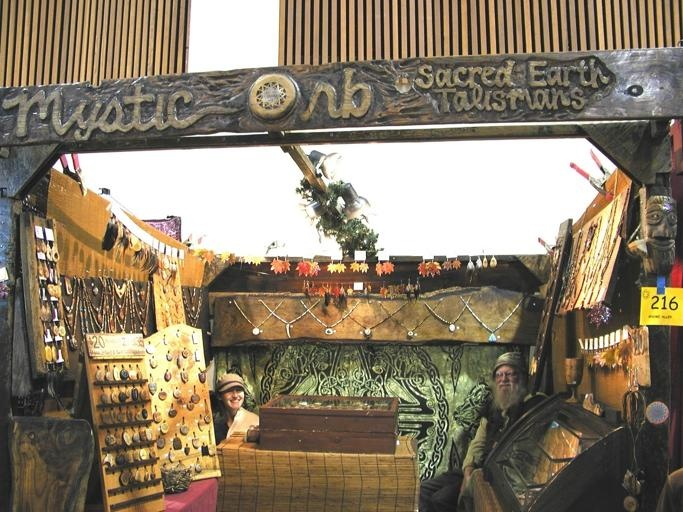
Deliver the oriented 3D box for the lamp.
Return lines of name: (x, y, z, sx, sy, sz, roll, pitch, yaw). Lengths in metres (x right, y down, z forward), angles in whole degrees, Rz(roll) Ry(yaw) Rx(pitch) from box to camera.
lamp: (-0.084, -0.709, 11.172, 0.324, 0.671, 0.533, -38, 29, -18)

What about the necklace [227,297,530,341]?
necklace: (0.360, 0.671, 11.482, 3.049, 0.566, 0.068, -2, -9, 5)

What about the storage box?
storage box: (-0.121, 1.593, 10.219, 1.294, 0.558, 0.418, -1, -10, 3)

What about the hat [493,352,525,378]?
hat: (1.797, 1.151, 11.443, 0.217, 0.211, 0.242, 1, -6, 21)
